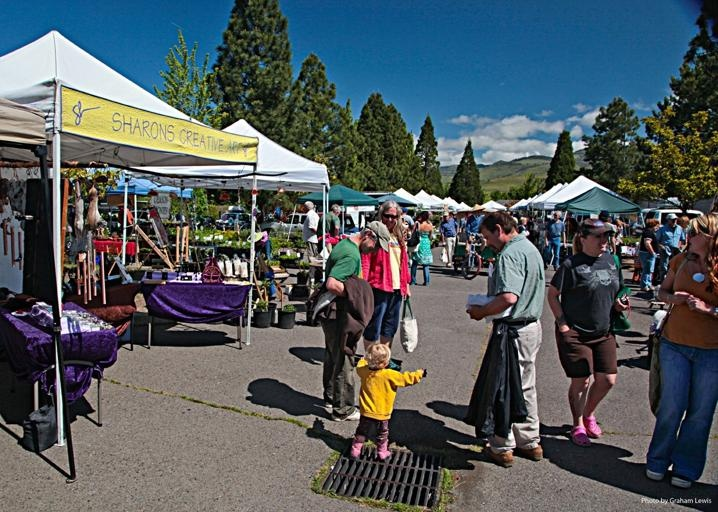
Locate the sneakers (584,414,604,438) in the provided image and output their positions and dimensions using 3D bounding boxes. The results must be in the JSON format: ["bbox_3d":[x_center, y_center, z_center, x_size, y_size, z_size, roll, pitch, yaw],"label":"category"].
[{"bbox_3d":[2.695,1.945,5.981,0.137,0.145,0.327,-10,-7,12],"label":"sneakers"}]

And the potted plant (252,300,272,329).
[{"bbox_3d":[-1.780,1.053,9.509,0.368,0.477,0.427,1,-3,-9],"label":"potted plant"}]

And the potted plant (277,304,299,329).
[{"bbox_3d":[-1.322,1.100,9.553,0.357,0.365,0.363,2,1,32],"label":"potted plant"}]

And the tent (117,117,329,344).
[{"bbox_3d":[-2.677,-0.635,12.281,4.216,5.805,4.323,3,4,23],"label":"tent"}]

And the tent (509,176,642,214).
[{"bbox_3d":[8.468,-2.267,20.201,2.818,0.808,2.891,0,2,-6],"label":"tent"}]

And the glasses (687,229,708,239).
[{"bbox_3d":[3.351,-0.211,5.161,0.085,0.046,0.086,27,-8,6],"label":"glasses"}]

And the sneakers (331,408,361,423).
[{"bbox_3d":[-0.147,1.844,6.205,0.306,0.150,0.146,-6,6,-24],"label":"sneakers"}]

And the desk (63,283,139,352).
[{"bbox_3d":[-3.867,0.793,7.771,1.125,1.034,0.893,-1,-9,8],"label":"desk"}]

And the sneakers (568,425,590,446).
[{"bbox_3d":[2.476,1.997,5.813,0.118,0.116,0.247,-3,-10,9],"label":"sneakers"}]

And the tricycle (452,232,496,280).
[{"bbox_3d":[3.596,-0.130,17.447,1.193,1.296,2.010,11,14,-11],"label":"tricycle"}]

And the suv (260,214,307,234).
[{"bbox_3d":[-4.160,-2.100,28.890,2.513,1.224,1.535,3,1,-6],"label":"suv"}]

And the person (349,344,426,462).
[{"bbox_3d":[0.308,1.683,5.866,0.897,1.352,0.581,8,17,23],"label":"person"}]

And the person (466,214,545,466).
[{"bbox_3d":[1.545,0.860,5.417,0.831,2.571,0.578,0,12,-7],"label":"person"}]

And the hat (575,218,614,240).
[{"bbox_3d":[2.529,-0.297,5.629,0.203,0.151,0.296,-1,-1,-11],"label":"hat"}]

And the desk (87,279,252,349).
[{"bbox_3d":[-3.209,0.891,8.465,2.854,1.115,0.910,1,4,2],"label":"desk"}]

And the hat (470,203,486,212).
[{"bbox_3d":[4.240,-1.721,18.378,0.705,0.298,0.707,6,11,41],"label":"hat"}]

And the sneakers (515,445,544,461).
[{"bbox_3d":[1.819,2.083,5.596,0.115,0.138,0.316,-4,-5,-24],"label":"sneakers"}]

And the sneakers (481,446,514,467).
[{"bbox_3d":[1.472,2.096,5.533,0.124,0.154,0.349,0,-5,-17],"label":"sneakers"}]

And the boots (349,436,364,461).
[{"bbox_3d":[-0.023,2.004,5.455,0.091,0.121,0.282,3,6,6],"label":"boots"}]

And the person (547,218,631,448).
[{"bbox_3d":[2.511,0.836,5.732,0.859,2.475,0.478,-2,13,-16],"label":"person"}]
